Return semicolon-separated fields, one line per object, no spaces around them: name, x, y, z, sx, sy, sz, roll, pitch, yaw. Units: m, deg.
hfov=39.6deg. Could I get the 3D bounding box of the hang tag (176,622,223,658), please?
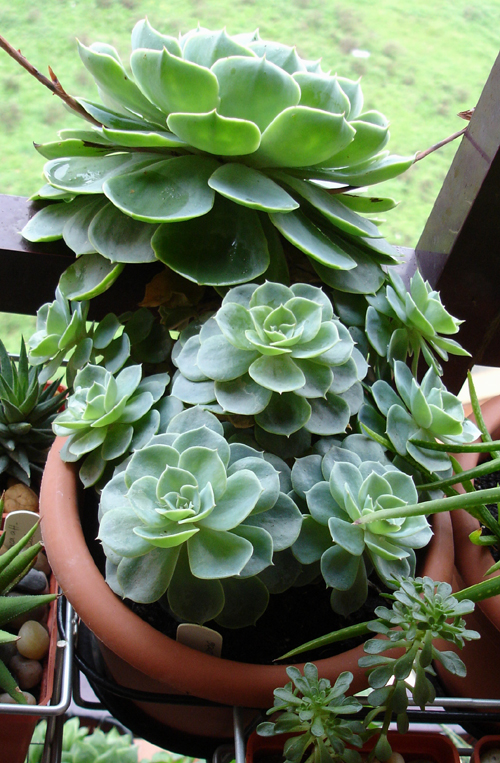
hang tag;-0.038;0.203;0.547;0.035;0.034;0.009;22;56;-14
